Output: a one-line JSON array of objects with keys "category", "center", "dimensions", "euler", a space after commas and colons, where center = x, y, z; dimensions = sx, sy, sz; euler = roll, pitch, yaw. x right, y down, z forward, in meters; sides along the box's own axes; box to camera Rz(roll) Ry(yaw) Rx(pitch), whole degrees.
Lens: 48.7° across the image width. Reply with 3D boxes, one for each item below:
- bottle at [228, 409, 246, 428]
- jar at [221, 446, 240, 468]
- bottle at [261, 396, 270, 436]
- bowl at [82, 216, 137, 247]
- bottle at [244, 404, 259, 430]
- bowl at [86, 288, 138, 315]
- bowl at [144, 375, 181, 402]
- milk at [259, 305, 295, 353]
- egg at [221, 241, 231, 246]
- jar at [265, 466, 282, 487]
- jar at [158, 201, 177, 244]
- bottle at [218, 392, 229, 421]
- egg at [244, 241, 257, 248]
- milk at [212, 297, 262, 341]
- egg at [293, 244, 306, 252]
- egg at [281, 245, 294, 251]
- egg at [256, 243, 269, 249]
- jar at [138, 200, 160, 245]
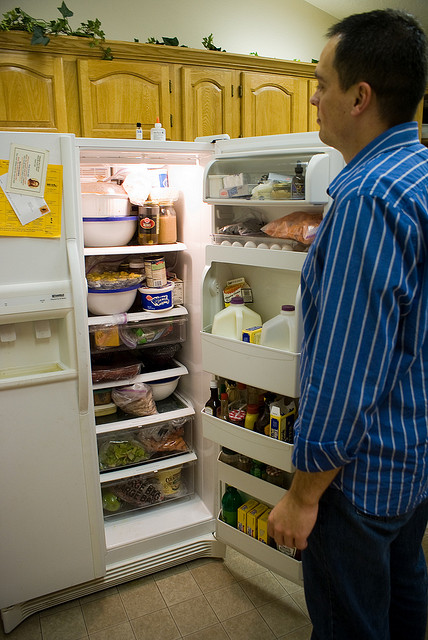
[{"category": "bottle", "center": [0.071, 0.301, 1.465], "dimensions": [0.055, 0.034, 0.075], "euler": [-2, 8, 1]}, {"category": "jar", "center": [0.051, 0.461, 1.588], "dimensions": [0.043, 0.067, 0.068], "euler": [3, -6, -15]}, {"category": "bottle", "center": [0.149, 0.277, 1.376], "dimensions": [0.026, 0.104, 0.089], "euler": [-2, 8, 5]}, {"category": "bowl", "center": [-0.357, -0.286, 1.620], "dimensions": [0.125, 0.054, 0.126], "euler": [-2, 10, 0]}, {"category": "bottle", "center": [0.112, 0.290, 1.422], "dimensions": [0.047, 0.069, 0.039], "euler": [-3, 8, -2]}, {"category": "bowl", "center": [-0.361, -0.065, 1.674], "dimensions": [0.109, 0.050, 0.112], "euler": [-2, 15, 1]}, {"category": "bowl", "center": [-0.207, 0.276, 1.986], "dimensions": [0.108, 0.072, 0.111], "euler": [-3, 10, 0]}, {"category": "milk", "center": [0.173, 0.029, 1.269], "dimensions": [0.072, 0.128, 0.074], "euler": [-15, 25, -39]}, {"category": "egg", "center": [0.036, -0.231, 1.426], "dimensions": [0.024, 0.013, 0.024], "euler": [1, 40, -3]}, {"category": "jar", "center": [0.181, 0.481, 1.448], "dimensions": [0.050, 0.060, 0.042], "euler": [-2, 8, 6]}, {"category": "jar", "center": [-0.188, -0.368, 1.793], "dimensions": [0.090, 0.156, 0.094], "euler": [3, 18, -1]}, {"category": "bottle", "center": [0.029, 0.270, 1.496], "dimensions": [0.029, 0.096, 0.074], "euler": [-4, 8, -10]}, {"category": "egg", "center": [0.103, -0.215, 1.353], "dimensions": [0.023, 0.014, 0.023], "euler": [3, 22, 16]}, {"category": "milk", "center": [0.040, -0.022, 1.475], "dimensions": [0.127, 0.225, 0.130], "euler": [-9, 23, -21]}, {"category": "egg", "center": [0.222, -0.187, 1.234], "dimensions": [0.021, 0.020, 0.021], "euler": [-3, 6, -26]}, {"category": "egg", "center": [0.188, -0.188, 1.235], "dimensions": [0.038, 0.015, 0.028], "euler": [-8, 10, -34]}, {"category": "egg", "center": [0.135, -0.203, 1.301], "dimensions": [0.019, 0.008, 0.019], "euler": [4, -3, -41]}, {"category": "jar", "center": [-0.243, -0.350, 1.739], "dimensions": [0.086, 0.152, 0.085], "euler": [2, 12, 0]}]
